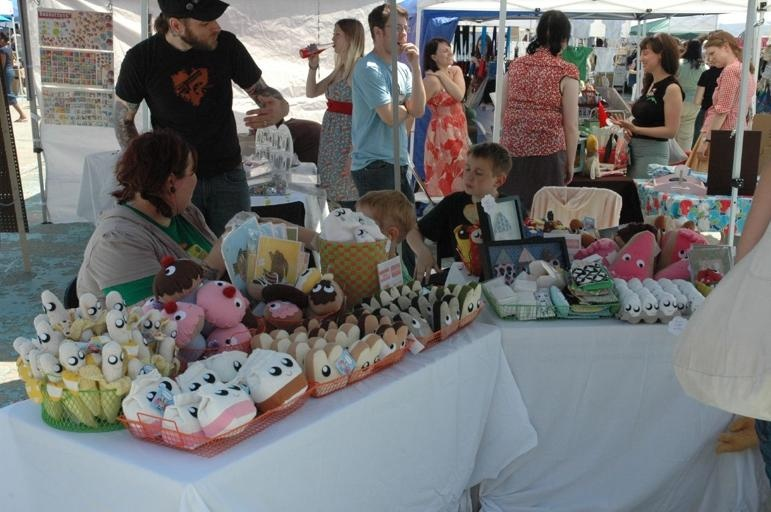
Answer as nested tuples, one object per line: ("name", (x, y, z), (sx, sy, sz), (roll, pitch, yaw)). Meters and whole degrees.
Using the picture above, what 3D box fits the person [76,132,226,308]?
("person", (-0.986, -0.113, 2.431), (0.474, 0.762, 0.768), (6, 21, -1))

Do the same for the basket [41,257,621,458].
("basket", (-0.321, 0.214, 1.952), (1.279, 0.414, 0.607), (-12, 19, -39))

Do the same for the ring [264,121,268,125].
("ring", (-0.633, -0.706, 3.018), (0.015, 0.016, 0.017), (-1, 41, 1))
